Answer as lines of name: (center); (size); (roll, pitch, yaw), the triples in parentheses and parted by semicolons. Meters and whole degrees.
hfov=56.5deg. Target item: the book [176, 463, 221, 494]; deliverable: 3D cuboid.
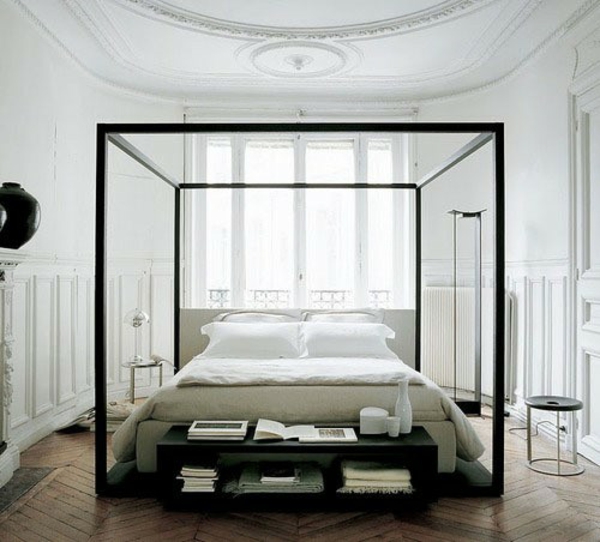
book: (-0.612, 1.226, 3.305); (0.232, 0.154, 0.065); (-1, 4, -2)

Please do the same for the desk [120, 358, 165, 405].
desk: (-1.517, 1.046, 5.305); (0.485, 0.585, 0.498); (1, -5, -16)

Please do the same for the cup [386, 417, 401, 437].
cup: (0.566, 0.945, 3.391); (0.089, 0.111, 0.098); (0, -11, 0)
